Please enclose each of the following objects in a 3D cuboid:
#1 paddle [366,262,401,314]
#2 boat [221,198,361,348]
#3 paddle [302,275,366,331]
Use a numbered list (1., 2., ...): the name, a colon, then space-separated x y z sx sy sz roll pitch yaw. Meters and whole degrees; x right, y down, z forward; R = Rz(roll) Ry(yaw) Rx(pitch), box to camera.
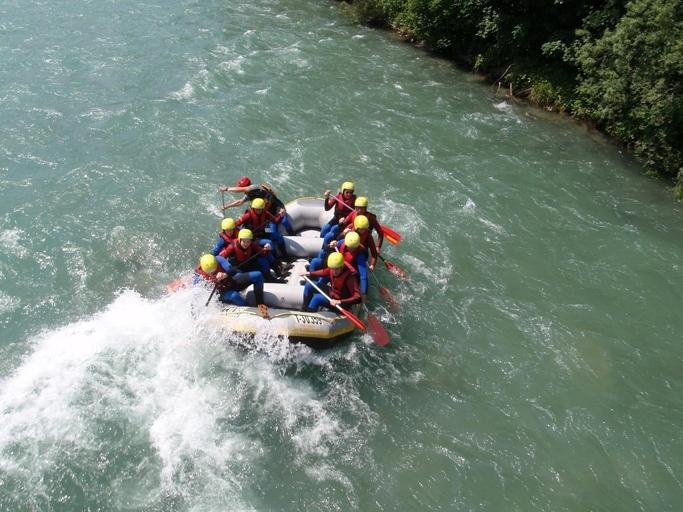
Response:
1. paddle: 1.250 1.017 20.750 1.895 0.502 0.086 58 17 5
2. boat: -1.208 0.916 21.513 2.633 1.084 4.723 5 56 7
3. paddle: -0.238 1.237 19.640 0.301 0.106 2.210 -35 56 -20
